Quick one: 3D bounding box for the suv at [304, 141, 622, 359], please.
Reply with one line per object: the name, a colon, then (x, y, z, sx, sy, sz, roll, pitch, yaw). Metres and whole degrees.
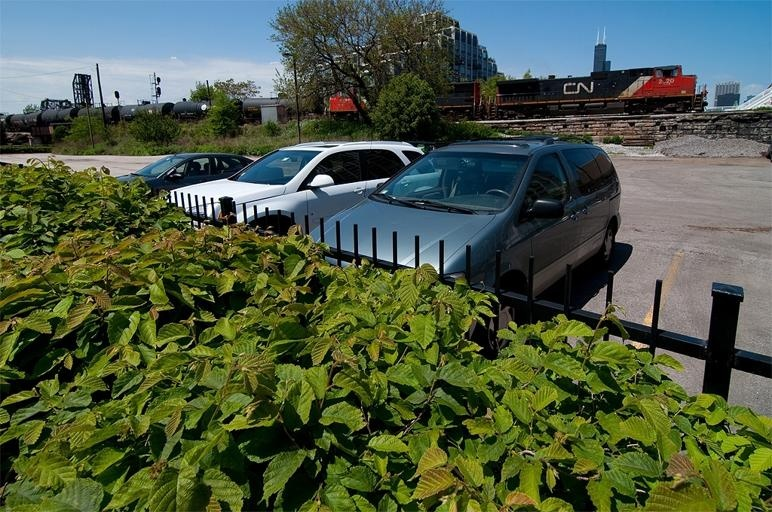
suv: (1.263, -0.585, 5.524, 4.030, 1.613, 2.127, -18, 25, -41)

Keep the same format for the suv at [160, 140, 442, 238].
suv: (-1.450, -1.063, 8.318, 4.714, 1.754, 2.072, -7, 12, -38)
